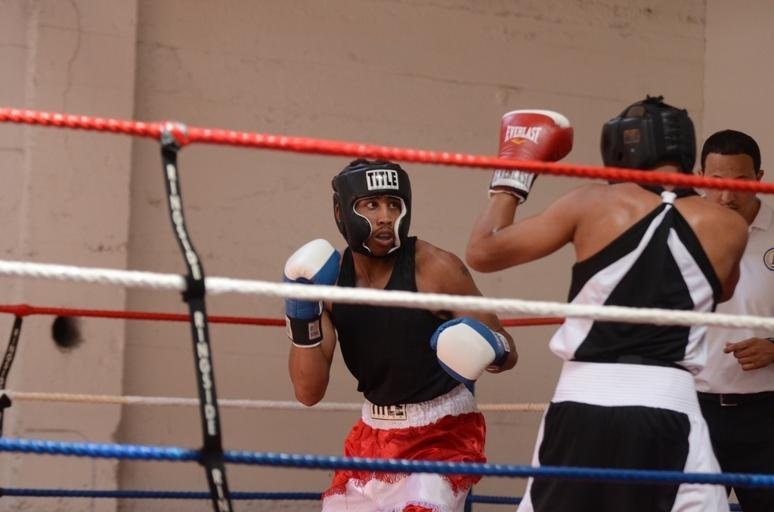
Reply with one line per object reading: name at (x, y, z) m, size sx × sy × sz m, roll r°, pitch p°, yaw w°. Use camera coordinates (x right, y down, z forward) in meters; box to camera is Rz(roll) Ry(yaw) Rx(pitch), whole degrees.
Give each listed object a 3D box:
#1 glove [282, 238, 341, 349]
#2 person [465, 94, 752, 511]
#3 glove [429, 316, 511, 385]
glove at (-0.314, 0.172, 3.915) m, size 0.222 × 0.452 × 0.380 m, roll 5°, pitch 12°, yaw -4°
person at (0.853, 0.190, 3.731) m, size 1.085 × 1.617 × 0.633 m, roll 7°, pitch 13°, yaw 3°
glove at (0.331, 0.370, 3.788) m, size 0.240 × 0.163 × 0.306 m, roll -1°, pitch 26°, yaw 6°
